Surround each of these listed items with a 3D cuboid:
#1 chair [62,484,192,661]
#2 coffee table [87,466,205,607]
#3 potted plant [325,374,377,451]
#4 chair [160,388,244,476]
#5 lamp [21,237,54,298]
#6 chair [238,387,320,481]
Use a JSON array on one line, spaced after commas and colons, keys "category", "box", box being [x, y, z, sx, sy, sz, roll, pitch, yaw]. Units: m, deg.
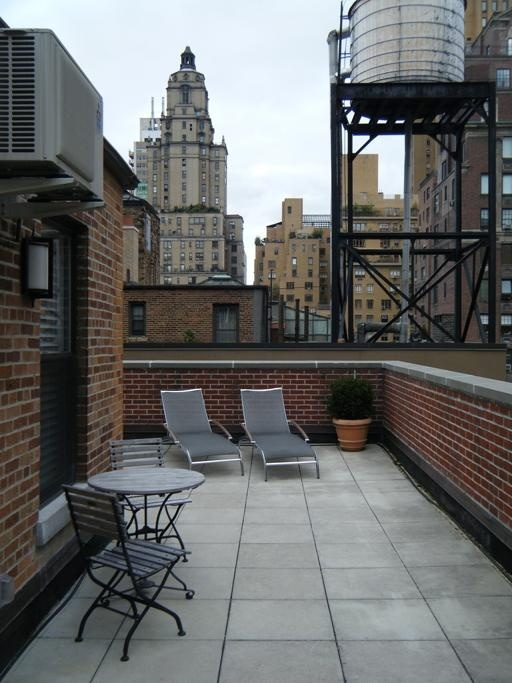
[{"category": "chair", "box": [-0.799, 1.231, 3.997, 0.689, 0.891, 1.486, 0, 0, -11]}, {"category": "coffee table", "box": [-0.761, 1.441, 4.947, 0.502, 0.562, 0.494, 1, -12, 39]}, {"category": "potted plant", "box": [1.368, 0.997, 9.183, 0.806, 1.289, 0.828, 0, -1, -4]}, {"category": "chair", "box": [-0.740, 1.075, 8.104, 0.712, 0.881, 1.439, -1, 5, -23]}, {"category": "lamp", "box": [-1.223, -0.427, 3.607, 0.080, 0.349, 0.251, 0, 0, 18]}, {"category": "chair", "box": [0.295, 1.125, 8.056, 0.562, 0.803, 1.257, -1, 3, -12]}]
